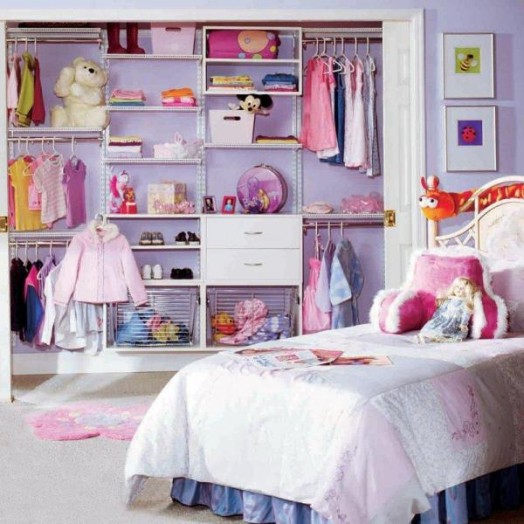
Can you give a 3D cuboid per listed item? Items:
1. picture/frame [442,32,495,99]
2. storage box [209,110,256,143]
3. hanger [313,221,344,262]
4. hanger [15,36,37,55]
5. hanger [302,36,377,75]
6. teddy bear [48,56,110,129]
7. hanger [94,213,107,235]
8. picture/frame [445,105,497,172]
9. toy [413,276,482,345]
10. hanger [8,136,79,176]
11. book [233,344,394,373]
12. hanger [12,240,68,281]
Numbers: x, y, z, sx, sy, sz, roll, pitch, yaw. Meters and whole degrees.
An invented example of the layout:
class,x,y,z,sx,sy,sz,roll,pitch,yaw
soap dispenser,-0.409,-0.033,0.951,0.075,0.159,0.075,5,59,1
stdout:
class,x,y,z,sx,sy,sz,roll,pitch,yaw
picture/frame,1.308,-1.246,4.030,0.333,0.508,0.031,0,1,5
storage box,-0.209,-0.953,4.568,0.225,0.173,0.255,1,4,1
hanger,0.490,-0.151,4.735,0.252,0.487,0.052,0,0,-3
hanger,-1.721,-1.586,4.699,0.128,0.144,0.015,1,14,1
hanger,0.595,-1.585,4.738,0.579,0.223,0.322,-3,6,3
teddy bear,-1.311,-1.207,4.700,0.388,0.603,0.360,1,-5,-28
hanger,-1.141,-0.270,4.553,0.042,0.159,0.101,-3,0,3
picture/frame,1.318,-0.789,4.065,0.314,0.468,0.026,1,-16,14
toy,0.802,0.213,2.777,0.231,0.256,0.291,1,8,33
hanger,-1.580,-0.766,4.656,0.315,0.240,0.101,-1,1,-4
book,0.187,0.353,2.368,0.538,0.026,0.310,-4,7,-1
hanger,-1.662,0.043,4.743,0.373,0.267,0.222,-1,6,-5
